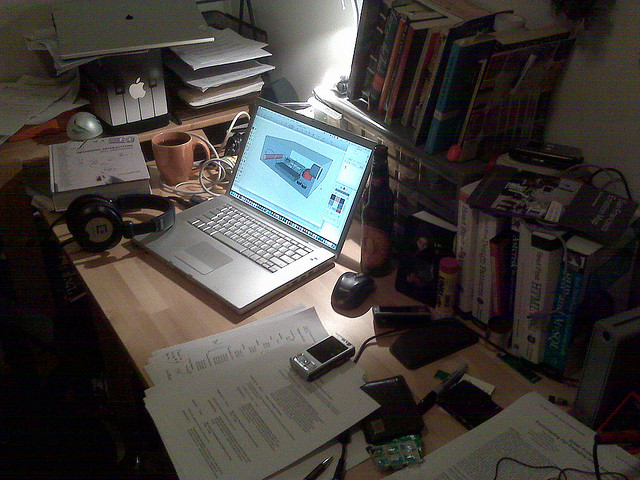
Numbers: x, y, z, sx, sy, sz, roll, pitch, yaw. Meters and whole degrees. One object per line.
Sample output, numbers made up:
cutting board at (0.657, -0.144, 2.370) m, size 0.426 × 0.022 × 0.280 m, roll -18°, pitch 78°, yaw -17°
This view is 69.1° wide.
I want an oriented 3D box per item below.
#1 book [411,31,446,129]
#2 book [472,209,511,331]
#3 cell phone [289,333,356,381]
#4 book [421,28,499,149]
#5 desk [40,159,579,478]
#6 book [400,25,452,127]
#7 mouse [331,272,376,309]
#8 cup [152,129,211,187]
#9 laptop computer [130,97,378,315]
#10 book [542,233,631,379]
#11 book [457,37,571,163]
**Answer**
book at (0.268, -0.400, 1.137) m, size 0.028 × 0.218 × 0.170 m, roll 21°, pitch 36°, yaw 5°
book at (0.369, 0.055, 0.997) m, size 0.051 × 0.260 × 0.204 m, roll 11°, pitch 25°, yaw 24°
cell phone at (0.002, 0.238, 0.963) m, size 0.115 × 0.028 × 0.068 m, roll -20°, pitch 34°, yaw -25°
book at (0.334, -0.363, 1.090) m, size 0.044 × 0.311 × 0.245 m, roll 40°, pitch 44°, yaw 20°
desk at (-0.113, 0.276, 1.253) m, size 0.552 × 0.215 × 0.985 m, roll -27°, pitch 57°, yaw -19°
book at (0.264, -0.413, 1.139) m, size 0.036 × 0.232 × 0.213 m, roll 25°, pitch 27°, yaw 6°
mouse at (0.081, 0.106, 1.133) m, size 0.083 × 0.042 × 0.137 m, roll 18°, pitch 40°, yaw 31°
cup at (-0.436, -0.252, 1.492) m, size 0.175 × 0.134 × 0.103 m, roll 0°, pitch 27°, yaw -10°
laptop computer at (-0.190, -0.108, 1.203) m, size 0.652 × 0.271 × 0.584 m, roll 7°, pitch 40°, yaw 13°
book at (0.547, 0.114, 0.949) m, size 0.221 × 0.285 × 0.109 m, roll -27°, pitch 40°, yaw -34°
book at (0.409, -0.389, 1.148) m, size 0.242 × 0.262 × 0.289 m, roll 29°, pitch 33°, yaw 11°
